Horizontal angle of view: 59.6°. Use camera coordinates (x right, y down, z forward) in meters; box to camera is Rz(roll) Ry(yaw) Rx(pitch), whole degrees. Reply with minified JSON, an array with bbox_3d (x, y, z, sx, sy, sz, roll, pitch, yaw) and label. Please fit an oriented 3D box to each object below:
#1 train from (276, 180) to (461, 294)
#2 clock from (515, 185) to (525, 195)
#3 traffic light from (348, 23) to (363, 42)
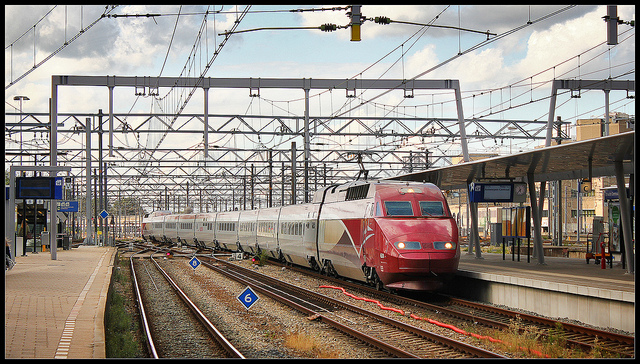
[{"bbox_3d":[1.582,2.956,31.424,3.571,5.380,17.147,-1,-6,-21],"label":"train"},{"bbox_3d":[10.978,0.457,30.698,0.544,0.480,0.110,5,3,-18],"label":"clock"},{"bbox_3d":[1.404,-5.853,21.595,0.439,0.759,0.341,-3,-5,-3],"label":"traffic light"}]
